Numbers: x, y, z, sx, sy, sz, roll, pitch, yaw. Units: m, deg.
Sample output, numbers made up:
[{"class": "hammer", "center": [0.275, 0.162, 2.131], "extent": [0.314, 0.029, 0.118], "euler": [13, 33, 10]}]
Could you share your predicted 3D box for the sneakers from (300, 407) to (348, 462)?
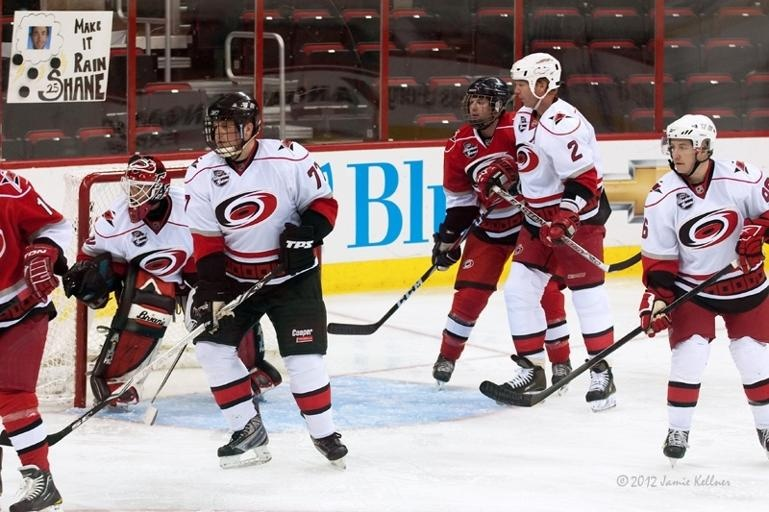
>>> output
[{"class": "sneakers", "center": [-0.291, 0.834, 4.644], "extent": [0.110, 0.197, 0.296], "euler": [-24, 39, -13]}]

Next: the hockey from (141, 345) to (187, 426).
[{"class": "hockey", "center": [-1.184, 0.698, 5.326], "extent": [0.077, 0.487, 0.069], "euler": [29, -7, 37]}]

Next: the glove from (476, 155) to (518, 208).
[{"class": "glove", "center": [0.625, -0.414, 5.495], "extent": [0.117, 0.244, 0.284], "euler": [37, 25, 33]}]

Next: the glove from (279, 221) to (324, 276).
[{"class": "glove", "center": [-0.379, -0.042, 4.436], "extent": [0.244, 0.261, 0.167], "euler": [-8, 17, -37]}]

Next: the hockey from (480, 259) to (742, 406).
[{"class": "hockey", "center": [1.190, 0.424, 5.275], "extent": [1.261, 0.162, 0.283], "euler": [-27, 4, 1]}]

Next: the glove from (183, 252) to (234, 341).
[{"class": "glove", "center": [-0.777, 0.165, 4.461], "extent": [0.182, 0.372, 0.126], "euler": [-3, 15, -10]}]

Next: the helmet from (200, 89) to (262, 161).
[{"class": "helmet", "center": [-0.671, -0.566, 4.374], "extent": [0.274, 0.287, 0.321], "euler": [5, 11, 31]}]

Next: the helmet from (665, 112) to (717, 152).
[{"class": "helmet", "center": [1.397, -0.563, 4.528], "extent": [0.241, 0.176, 0.163], "euler": [3, 2, -10]}]

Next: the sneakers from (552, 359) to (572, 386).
[{"class": "sneakers", "center": [0.996, 0.658, 5.606], "extent": [0.093, 0.090, 0.220], "euler": [-3, 38, 11]}]

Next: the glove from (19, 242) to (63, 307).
[{"class": "glove", "center": [-1.414, 0.057, 4.004], "extent": [0.105, 0.203, 0.189], "euler": [5, -28, -32]}]

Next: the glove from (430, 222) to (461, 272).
[{"class": "glove", "center": [0.356, -0.052, 5.730], "extent": [0.120, 0.248, 0.185], "euler": [22, 32, -3]}]

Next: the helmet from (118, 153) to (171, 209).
[{"class": "helmet", "center": [-1.196, -0.363, 4.961], "extent": [0.246, 0.247, 0.292], "euler": [9, 13, 31]}]

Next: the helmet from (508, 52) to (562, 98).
[{"class": "helmet", "center": [0.810, -0.972, 5.364], "extent": [0.305, 0.206, 0.215], "euler": [1, 0, -2]}]

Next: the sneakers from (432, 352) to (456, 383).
[{"class": "sneakers", "center": [0.342, 0.634, 5.704], "extent": [0.112, 0.159, 0.057], "euler": [20, -6, 1]}]

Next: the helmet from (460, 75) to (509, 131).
[{"class": "helmet", "center": [0.568, -0.838, 5.422], "extent": [0.325, 0.260, 0.237], "euler": [2, -3, -40]}]
